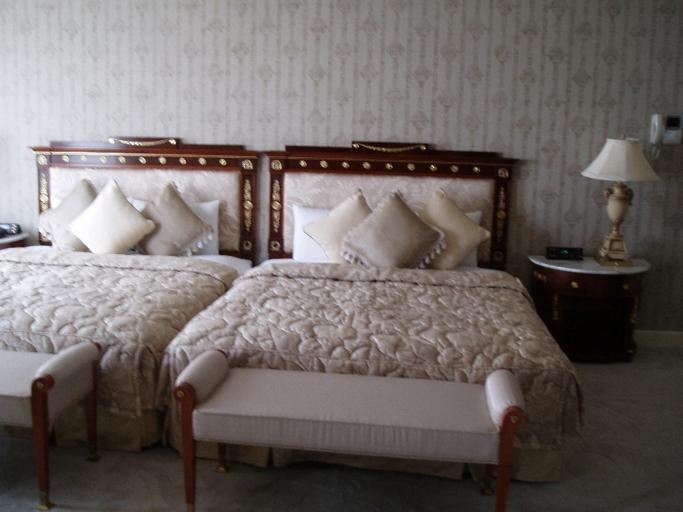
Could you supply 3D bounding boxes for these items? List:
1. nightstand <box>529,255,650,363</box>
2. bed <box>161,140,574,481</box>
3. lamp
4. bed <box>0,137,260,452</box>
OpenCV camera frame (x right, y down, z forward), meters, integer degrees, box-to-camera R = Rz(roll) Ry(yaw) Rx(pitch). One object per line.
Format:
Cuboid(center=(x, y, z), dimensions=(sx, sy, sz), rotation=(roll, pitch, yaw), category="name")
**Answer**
Cuboid(center=(1.859, 0.405, 4.273), dimensions=(0.837, 0.736, 0.484), rotation=(0, 9, 13), category="nightstand")
Cuboid(center=(0.267, 0.118, 3.690), dimensions=(2.226, 1.445, 2.368), rotation=(3, 17, 11), category="bed")
Cuboid(center=(2.038, -0.417, 4.205), dimensions=(0.507, 0.873, 0.463), rotation=(-12, 18, -39), category="lamp")
Cuboid(center=(-1.524, 0.224, 3.890), dimensions=(1.802, 1.455, 1.980), rotation=(2, 18, 0), category="bed")
